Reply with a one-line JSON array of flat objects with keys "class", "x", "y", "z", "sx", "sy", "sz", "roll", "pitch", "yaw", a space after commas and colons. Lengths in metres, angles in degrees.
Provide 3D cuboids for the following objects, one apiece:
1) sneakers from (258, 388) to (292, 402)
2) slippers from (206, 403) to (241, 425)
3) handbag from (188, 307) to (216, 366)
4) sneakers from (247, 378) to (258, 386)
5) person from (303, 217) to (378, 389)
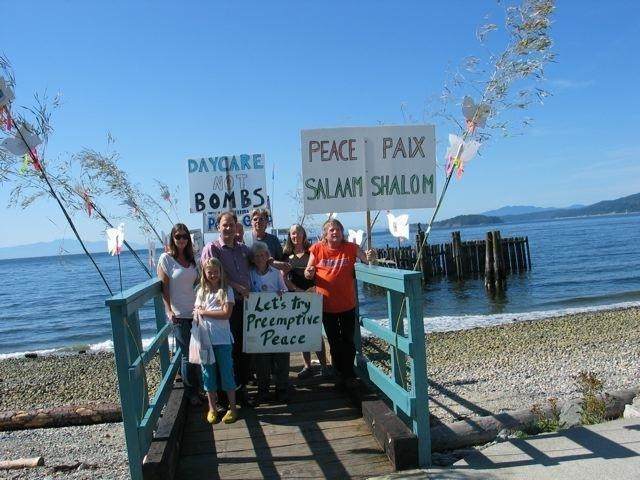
[{"class": "sneakers", "x": -0.557, "y": 1.894, "z": 5.518, "sx": 0.464, "sy": 0.163, "sz": 0.203, "roll": 2, "pitch": -27, "yaw": -8}, {"class": "slippers", "x": -1.079, "y": 1.941, "z": 5.055, "sx": 0.281, "sy": 0.111, "sz": 0.165, "roll": 14, "pitch": -15, "yaw": -28}, {"class": "handbag", "x": -1.312, "y": 1.091, "z": 5.009, "sx": 0.304, "sy": 0.594, "sz": 0.139, "roll": -4, "pitch": 1, "yaw": 30}, {"class": "sneakers", "x": -0.932, "y": 1.981, "z": 6.352, "sx": 0.127, "sy": 0.046, "sz": 0.131, "roll": -1, "pitch": -3, "yaw": 13}, {"class": "person", "x": 0.209, "y": 0.749, "z": 5.530, "sx": 0.703, "sy": 1.922, "sz": 0.435, "roll": -4, "pitch": 1, "yaw": 0}]
